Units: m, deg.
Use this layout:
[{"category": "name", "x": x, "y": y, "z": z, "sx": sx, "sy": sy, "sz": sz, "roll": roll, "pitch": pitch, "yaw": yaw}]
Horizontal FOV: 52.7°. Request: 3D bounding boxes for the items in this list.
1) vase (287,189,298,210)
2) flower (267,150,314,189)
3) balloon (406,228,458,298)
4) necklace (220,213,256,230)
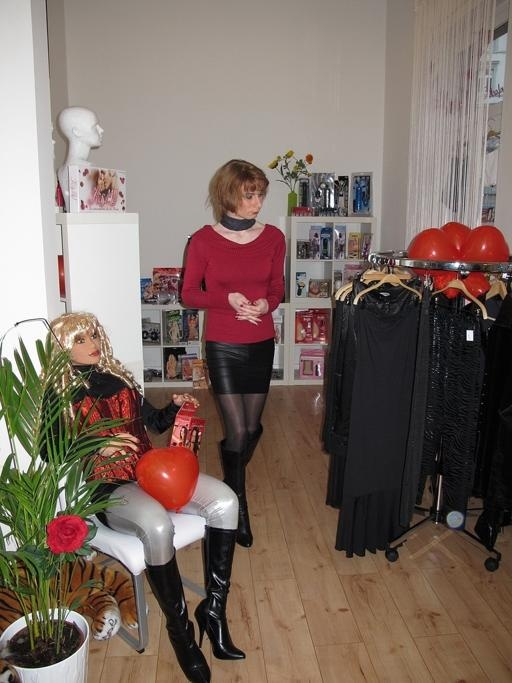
[{"category": "vase", "x": 0.333, "y": -1.264, "z": 4.667, "sx": 0.086, "sy": 0.211, "sz": 0.243, "roll": 1, "pitch": 7, "yaw": 3}, {"category": "flower", "x": 0.382, "y": -1.564, "z": 4.770, "sx": 0.354, "sy": 0.382, "sz": 0.388, "roll": 17, "pitch": 29, "yaw": 42}, {"category": "balloon", "x": 0.648, "y": -0.300, "z": 1.894, "sx": 0.177, "sy": 0.246, "sz": 0.430, "roll": 3, "pitch": 8, "yaw": 18}, {"category": "necklace", "x": -0.071, "y": -0.476, "z": 2.091, "sx": 0.149, "sy": 0.064, "sz": 0.078, "roll": -1, "pitch": 7, "yaw": -8}]
